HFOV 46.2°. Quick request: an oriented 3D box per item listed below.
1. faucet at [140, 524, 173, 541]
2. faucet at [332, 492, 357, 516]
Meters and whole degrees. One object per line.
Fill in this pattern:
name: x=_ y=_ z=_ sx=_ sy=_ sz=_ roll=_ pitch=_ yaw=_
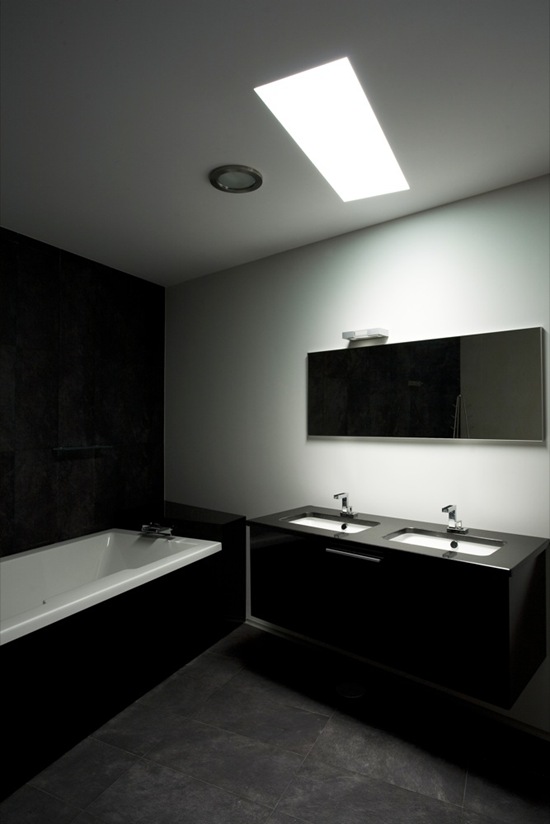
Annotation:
faucet: x=-0.611 y=0.620 z=3.402 sx=0.238 sy=0.112 sz=0.073 roll=-7 pitch=-7 yaw=36
faucet: x=0.328 y=0.439 z=3.142 sx=0.083 sy=0.150 sz=0.106 roll=-4 pitch=-12 yaw=30
